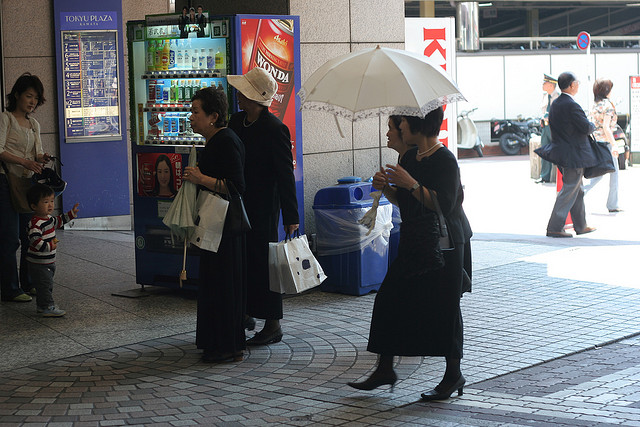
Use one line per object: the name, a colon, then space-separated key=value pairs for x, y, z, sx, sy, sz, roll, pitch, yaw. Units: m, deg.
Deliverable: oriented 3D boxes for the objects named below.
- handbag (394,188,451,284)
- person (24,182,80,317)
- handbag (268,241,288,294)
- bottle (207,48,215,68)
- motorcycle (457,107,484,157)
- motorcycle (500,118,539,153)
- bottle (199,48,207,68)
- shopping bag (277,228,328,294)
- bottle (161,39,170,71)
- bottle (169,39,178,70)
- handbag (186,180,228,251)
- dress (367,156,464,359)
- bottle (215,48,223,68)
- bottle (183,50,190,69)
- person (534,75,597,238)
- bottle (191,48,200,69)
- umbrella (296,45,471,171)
handbag: x=0.744 y=0.179 z=4.340 sx=0.398 sy=0.702 sz=0.226 roll=3 pitch=12 yaw=17
person: x=-2.810 y=0.378 z=6.243 sx=0.463 sy=1.333 sz=0.478 roll=-2 pitch=11 yaw=-4
handbag: x=-0.386 y=0.501 z=5.384 sx=0.195 sy=0.479 sz=0.136 roll=1 pitch=11 yaw=9
bottle: x=-1.172 y=-1.670 z=6.420 sx=0.086 sy=0.207 sz=0.057 roll=1 pitch=11 yaw=12
motorcycle: x=4.953 y=-2.688 z=19.830 sx=1.038 sy=1.519 sz=0.667 roll=9 pitch=32 yaw=21
motorcycle: x=6.662 y=-2.579 z=19.805 sx=1.367 sy=0.777 sz=0.705 roll=-26 pitch=16 yaw=-20
bottle: x=-1.263 y=-1.675 z=6.452 sx=0.098 sy=0.201 sz=0.047 roll=4 pitch=12 yaw=22
shopping bag: x=-0.217 y=0.409 z=5.465 sx=0.494 sy=0.568 sz=0.221 roll=-16 pitch=9 yaw=-42
bottle: x=-1.717 y=-1.758 z=6.617 sx=0.102 sy=0.326 sz=0.050 roll=3 pitch=12 yaw=21
bottle: x=-1.619 y=-1.754 z=6.583 sx=0.113 sy=0.318 sz=0.046 roll=3 pitch=12 yaw=20
handbag: x=-0.954 y=0.019 z=5.015 sx=0.338 sy=0.561 sz=0.215 roll=2 pitch=12 yaw=14
dress: x=0.678 y=0.294 z=4.665 sx=0.709 sy=1.445 sz=0.754 roll=-1 pitch=4 yaw=2
bottle: x=-1.084 y=-1.658 z=6.390 sx=0.098 sy=0.199 sz=0.046 roll=3 pitch=12 yaw=18
bottle: x=-1.457 y=-1.677 z=6.514 sx=0.072 sy=0.201 sz=0.031 roll=9 pitch=15 yaw=40
person: x=3.951 y=-0.891 z=9.447 sx=0.783 sy=2.538 sz=0.626 roll=2 pitch=12 yaw=14
bottle: x=-1.356 y=-1.674 z=6.476 sx=0.097 sy=0.214 sz=0.042 roll=2 pitch=12 yaw=12
umbrella: x=0.509 y=-0.951 z=5.651 sx=1.632 sy=1.200 sz=1.572 roll=-3 pitch=24 yaw=-3
